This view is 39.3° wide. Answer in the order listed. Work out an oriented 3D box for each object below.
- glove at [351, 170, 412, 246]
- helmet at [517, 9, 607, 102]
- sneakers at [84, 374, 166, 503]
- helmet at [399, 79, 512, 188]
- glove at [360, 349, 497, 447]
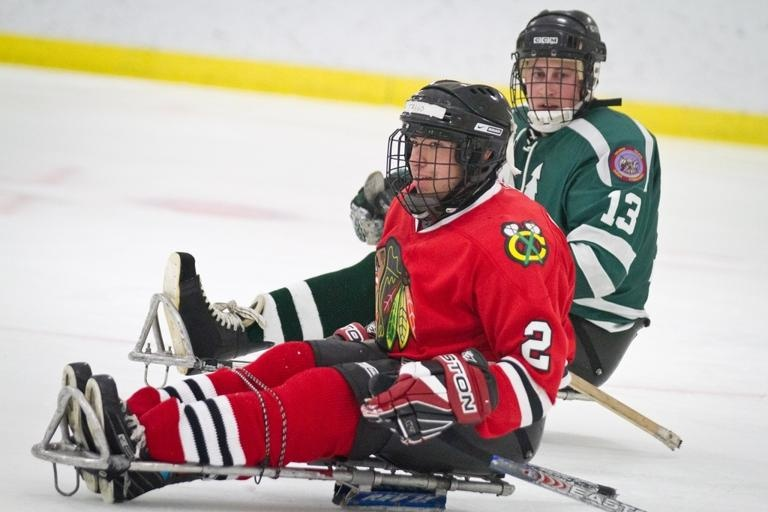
[{"bbox_3d":[-0.073,-0.263,5.367,0.162,0.377,0.267,5,36,-30],"label":"glove"},{"bbox_3d":[0.905,-1.007,5.511,0.406,0.429,0.479,0,-2,33],"label":"helmet"},{"bbox_3d":[-1.013,0.702,4.204,0.235,0.596,0.202,-10,10,-18],"label":"sneakers"},{"bbox_3d":[0.219,-0.494,4.484,0.476,0.441,0.371,3,-2,-37],"label":"helmet"},{"bbox_3d":[0.171,0.557,4.136,0.483,0.298,0.151,-11,-15,-2],"label":"glove"}]
